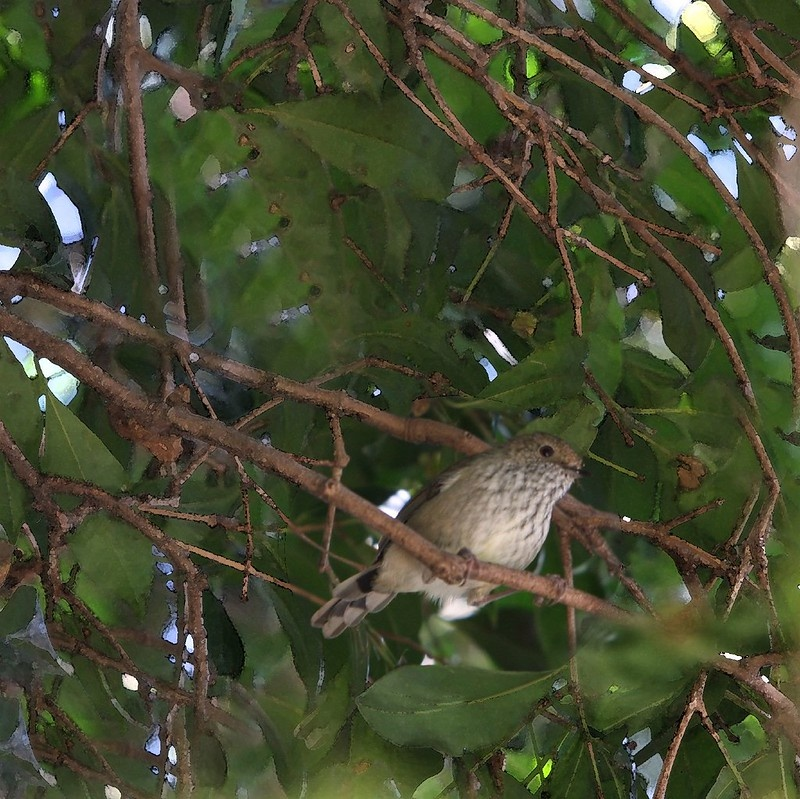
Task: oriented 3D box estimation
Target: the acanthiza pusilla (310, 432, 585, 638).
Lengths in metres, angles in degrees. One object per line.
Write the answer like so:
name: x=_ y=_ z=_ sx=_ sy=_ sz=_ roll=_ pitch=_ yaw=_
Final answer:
acanthiza pusilla: x=0.058 y=0.187 z=1.486 sx=0.161 sy=0.422 sz=0.185 roll=49 pitch=29 yaw=-37
